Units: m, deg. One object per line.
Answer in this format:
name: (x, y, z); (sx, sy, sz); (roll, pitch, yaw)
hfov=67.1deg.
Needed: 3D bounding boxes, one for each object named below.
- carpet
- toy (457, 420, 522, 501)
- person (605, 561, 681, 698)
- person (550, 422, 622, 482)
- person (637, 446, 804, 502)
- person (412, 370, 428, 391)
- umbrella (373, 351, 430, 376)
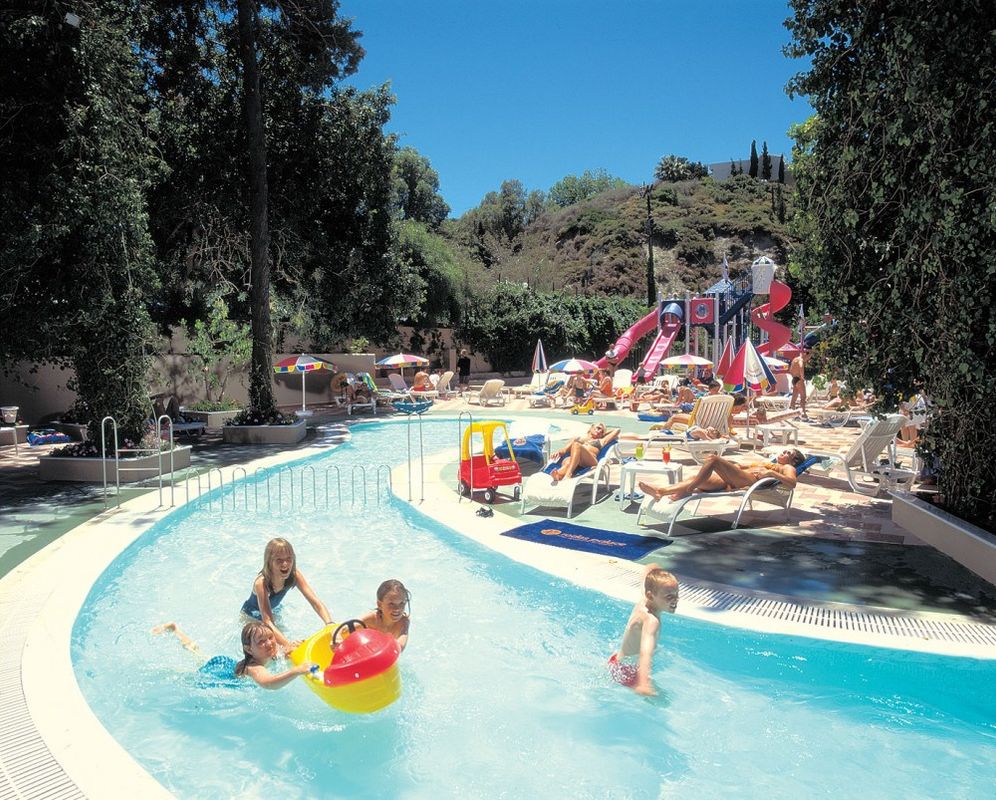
carpet: (1.035, 1.637, 8.814); (1.818, 0.180, 1.007); (7, 14, 34)
toy: (-0.095, 0.902, 11.556); (0.881, 1.504, 1.170); (-3, 3, -41)
person: (1.211, 1.892, 6.271); (0.577, 0.919, 0.513); (-1, 11, -1)
person: (1.200, 0.747, 10.704); (0.555, 0.584, 1.090); (3, -6, 34)
person: (2.855, 0.955, 9.291); (1.586, 0.549, 0.833); (-4, -6, -10)
person: (-2.819, -0.748, 26.996); (0.531, 1.002, 0.972); (-3, 7, -2)
umbrella: (-3.245, -1.351, 25.875); (1.409, 0.746, 1.494); (-1, 0, -25)
